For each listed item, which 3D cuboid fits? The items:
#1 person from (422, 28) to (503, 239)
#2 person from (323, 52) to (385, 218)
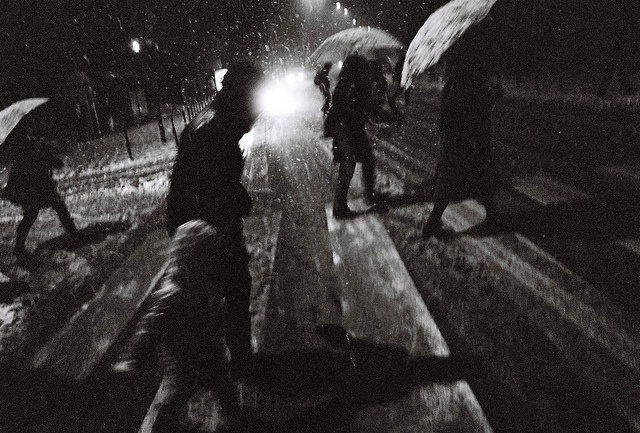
[{"bbox_3d":[1.220,-0.699,4.373,0.581,1.861,0.494,-1,37,11],"label":"person"},{"bbox_3d":[0.303,-0.746,4.763,0.506,1.430,0.474,1,44,10],"label":"person"}]
